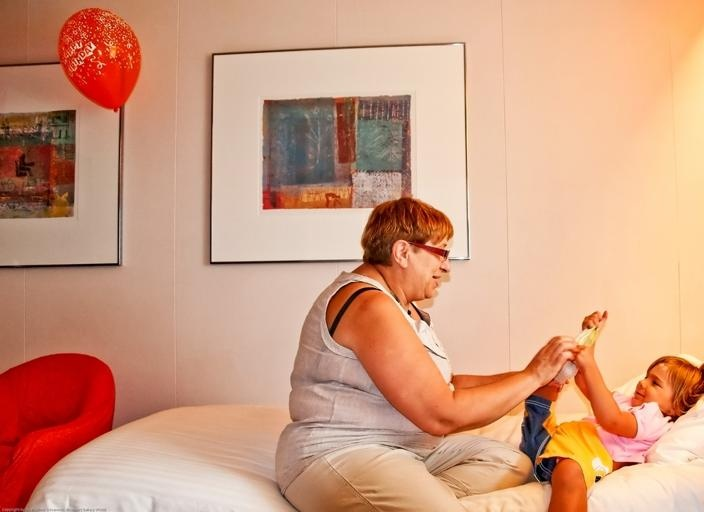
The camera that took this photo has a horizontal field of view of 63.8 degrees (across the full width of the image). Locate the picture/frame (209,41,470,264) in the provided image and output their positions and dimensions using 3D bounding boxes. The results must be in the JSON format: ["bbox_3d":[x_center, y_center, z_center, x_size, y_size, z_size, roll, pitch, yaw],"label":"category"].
[{"bbox_3d":[-0.020,-0.550,3.119,1.069,0.995,0.019,-1,-4,6],"label":"picture/frame"}]

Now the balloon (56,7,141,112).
[{"bbox_3d":[-1.421,-1.036,3.221,0.409,0.568,0.331,-25,9,-37],"label":"balloon"}]
